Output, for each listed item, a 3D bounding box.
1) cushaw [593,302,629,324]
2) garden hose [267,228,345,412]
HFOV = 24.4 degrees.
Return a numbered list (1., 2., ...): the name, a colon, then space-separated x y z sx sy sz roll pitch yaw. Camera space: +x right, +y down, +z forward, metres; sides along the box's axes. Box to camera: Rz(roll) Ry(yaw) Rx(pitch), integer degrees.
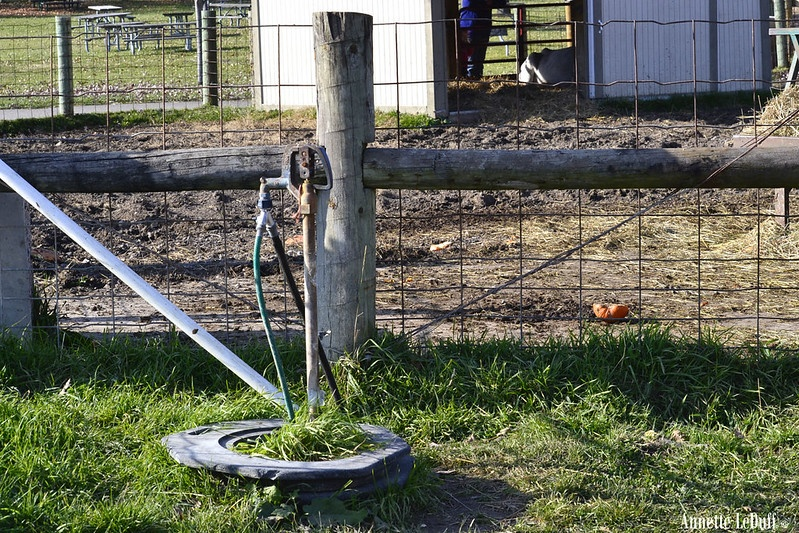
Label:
1. cushaw: 2.667 0.538 23.338 0.264 0.174 0.286 -5 1 -8
2. garden hose: -1.110 0.686 22.007 0.211 2.261 0.169 -19 1 6
